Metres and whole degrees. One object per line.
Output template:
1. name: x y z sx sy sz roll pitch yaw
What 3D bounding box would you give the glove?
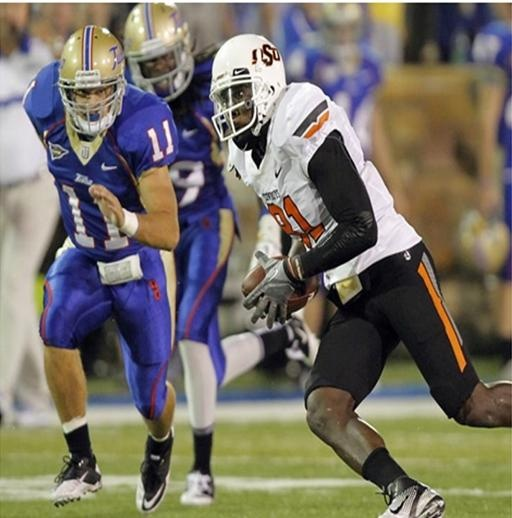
1. glove: 0.054 0.099 2.273 0.163 0.185 0.067 36 29 14

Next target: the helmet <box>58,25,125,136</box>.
1. helmet: -0.482 -0.551 2.467 0.197 0.271 0.330 0 52 -1

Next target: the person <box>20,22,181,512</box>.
1. person: -0.489 0.116 2.544 0.498 1.551 0.801 -3 26 -7

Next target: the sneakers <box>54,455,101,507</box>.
1. sneakers: -0.540 0.698 2.446 0.078 0.147 0.259 -5 -4 14

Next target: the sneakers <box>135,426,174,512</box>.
1. sneakers: -0.354 0.772 2.781 0.081 0.111 0.324 6 71 -2

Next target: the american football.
1. american football: 0.070 0.081 2.328 0.193 0.084 0.164 -41 64 -13
